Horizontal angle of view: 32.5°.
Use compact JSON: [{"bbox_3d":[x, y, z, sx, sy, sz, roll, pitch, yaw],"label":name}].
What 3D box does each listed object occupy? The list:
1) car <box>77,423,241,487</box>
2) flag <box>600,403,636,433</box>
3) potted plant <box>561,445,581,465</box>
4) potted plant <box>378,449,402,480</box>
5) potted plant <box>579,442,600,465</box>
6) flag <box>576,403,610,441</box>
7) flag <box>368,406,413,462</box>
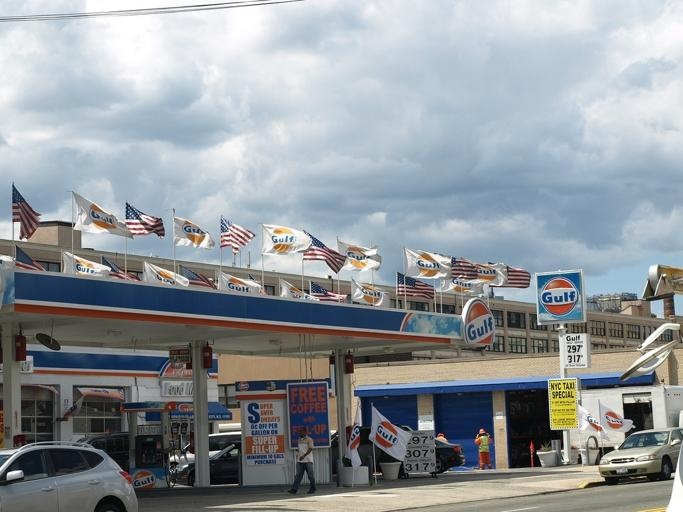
[{"bbox_3d":[-7.453,7.758,46.424,6.399,2.596,3.330,2,-11,-19],"label":"car"},{"bbox_3d":[11.032,6.518,47.199,1.593,1.405,0.135,11,-25,-1],"label":"flag"},{"bbox_3d":[9.610,8.373,49.022,1.003,0.788,0.817,3,-7,-23],"label":"potted plant"},{"bbox_3d":[1.732,7.755,43.126,0.943,0.708,0.940,1,-12,-1],"label":"potted plant"},{"bbox_3d":[9.868,7.990,46.889,0.497,0.819,1.340,-10,-17,29],"label":"potted plant"},{"bbox_3d":[10.044,6.673,46.906,1.861,1.840,0.249,7,-19,-17],"label":"flag"},{"bbox_3d":[1.604,5.986,39.430,1.274,1.631,0.647,1,-15,-8],"label":"flag"}]
